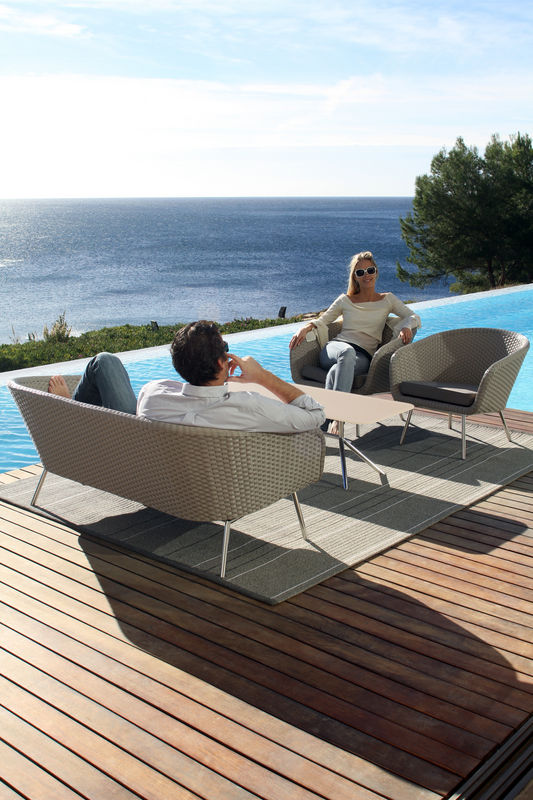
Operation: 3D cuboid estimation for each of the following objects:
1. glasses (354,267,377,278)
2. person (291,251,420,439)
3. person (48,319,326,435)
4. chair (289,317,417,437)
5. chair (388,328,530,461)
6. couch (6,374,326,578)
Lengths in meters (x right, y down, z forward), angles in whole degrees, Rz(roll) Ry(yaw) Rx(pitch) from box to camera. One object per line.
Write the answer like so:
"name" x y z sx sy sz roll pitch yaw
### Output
"glasses" 0.693 -0.879 4.263 0.097 0.033 0.092 -10 8 -19
"person" 0.591 -0.415 4.170 0.857 1.237 0.689 6 1 13
"person" -0.320 -0.152 2.540 0.494 0.432 1.111 -11 22 -35
"chair" 0.614 -0.215 4.436 0.817 0.880 0.841 12 9 41
"chair" 1.183 -0.011 3.979 0.873 0.906 0.863 -10 14 -41
"couch" -0.424 0.286 2.359 1.134 0.575 0.488 5 13 24
